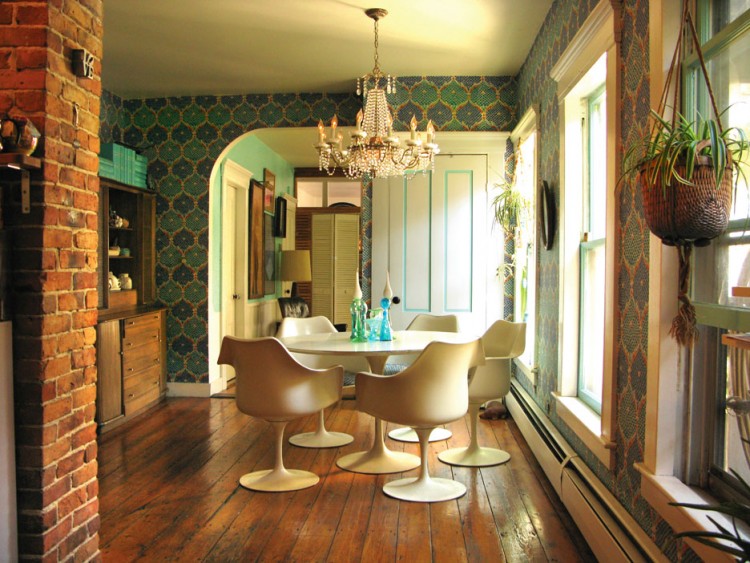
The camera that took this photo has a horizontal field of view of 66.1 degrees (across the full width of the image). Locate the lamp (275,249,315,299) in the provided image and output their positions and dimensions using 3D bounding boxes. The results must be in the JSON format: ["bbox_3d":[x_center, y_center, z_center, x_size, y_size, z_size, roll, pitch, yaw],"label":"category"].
[{"bbox_3d":[-1.162,-0.229,8.332,0.416,0.459,0.442,-1,4,-13],"label":"lamp"}]

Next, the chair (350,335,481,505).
[{"bbox_3d":[0.286,0.833,3.679,0.632,0.978,0.739,2,2,34],"label":"chair"}]

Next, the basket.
[{"bbox_3d":[1.068,-0.274,1.995,0.319,0.300,0.336,0,2,17],"label":"basket"}]

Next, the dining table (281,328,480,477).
[{"bbox_3d":[0.008,0.879,4.122,1.189,0.844,1.190,-7,-8,44],"label":"dining table"}]

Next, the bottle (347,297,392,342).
[{"bbox_3d":[-0.026,0.279,4.304,0.275,0.312,0.287,1,-8,-7],"label":"bottle"}]

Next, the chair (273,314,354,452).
[{"bbox_3d":[-0.454,0.796,4.510,0.577,0.961,0.514,-10,16,-32],"label":"chair"}]

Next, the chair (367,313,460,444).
[{"bbox_3d":[0.431,0.817,5.030,0.731,1.273,0.859,-1,-11,12],"label":"chair"}]

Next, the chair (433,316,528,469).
[{"bbox_3d":[0.774,0.794,4.292,0.633,1.038,0.598,3,-2,-36],"label":"chair"}]

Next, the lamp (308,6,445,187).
[{"bbox_3d":[0.036,-1.331,4.972,1.057,1.574,1.154,-1,1,17],"label":"lamp"}]

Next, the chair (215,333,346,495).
[{"bbox_3d":[-0.644,0.806,3.767,0.684,0.994,0.636,2,1,28],"label":"chair"}]

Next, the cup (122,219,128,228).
[{"bbox_3d":[-2.391,-0.561,5.542,0.067,0.087,0.073,0,-3,0],"label":"cup"}]

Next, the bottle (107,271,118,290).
[{"bbox_3d":[-2.397,-0.009,5.289,0.120,0.194,0.129,0,-4,0],"label":"bottle"}]

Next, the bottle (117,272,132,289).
[{"bbox_3d":[-2.391,-0.017,5.515,0.118,0.139,0.124,-3,-4,31],"label":"bottle"}]
